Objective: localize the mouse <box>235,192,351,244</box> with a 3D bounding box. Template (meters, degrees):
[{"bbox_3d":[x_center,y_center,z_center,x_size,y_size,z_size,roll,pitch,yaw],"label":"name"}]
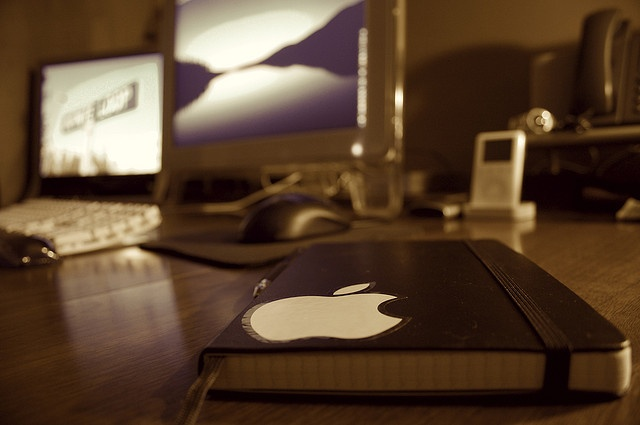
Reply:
[{"bbox_3d":[-0.048,-0.007,1.020,0.199,0.098,0.296,3,4,36],"label":"mouse"}]

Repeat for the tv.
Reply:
[{"bbox_3d":[-0.522,-0.223,1.193,0.391,0.290,0.040,0,-2,21],"label":"tv"}]
